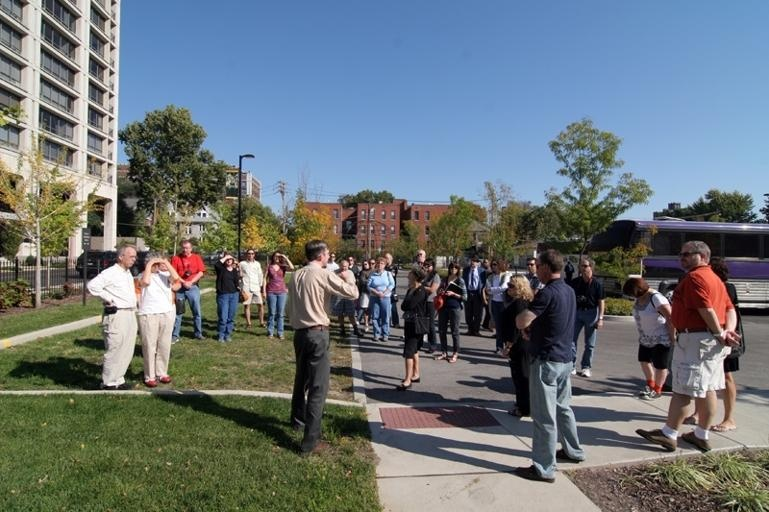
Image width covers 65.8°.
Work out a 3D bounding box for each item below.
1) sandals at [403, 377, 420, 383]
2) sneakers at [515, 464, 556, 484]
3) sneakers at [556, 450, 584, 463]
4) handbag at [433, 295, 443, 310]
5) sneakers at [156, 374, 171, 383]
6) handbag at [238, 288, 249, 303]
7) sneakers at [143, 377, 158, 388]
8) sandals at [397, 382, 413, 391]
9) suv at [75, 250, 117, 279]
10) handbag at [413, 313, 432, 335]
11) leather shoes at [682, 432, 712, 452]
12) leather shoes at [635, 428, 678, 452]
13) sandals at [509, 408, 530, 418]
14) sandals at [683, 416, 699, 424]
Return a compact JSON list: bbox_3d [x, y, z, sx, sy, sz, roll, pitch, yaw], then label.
[{"bbox_3d":[0.510,2.448,11.791,0.366,0.142,0.140,9,-12,-40],"label":"sandals"},{"bbox_3d":[2.224,3.210,8.810,0.543,0.246,0.220,12,-7,18],"label":"sneakers"},{"bbox_3d":[2.865,3.066,9.212,0.439,0.201,0.166,-4,1,15],"label":"sneakers"},{"bbox_3d":[1.154,0.965,12.636,0.201,0.280,0.266,-3,0,37],"label":"handbag"},{"bbox_3d":[-4.238,2.344,11.418,0.283,0.136,0.106,-5,-4,37],"label":"sneakers"},{"bbox_3d":[-3.845,1.028,16.180,0.359,0.372,0.200,4,24,42],"label":"handbag"},{"bbox_3d":[-4.418,2.363,11.256,0.154,0.123,0.175,1,-11,1],"label":"sneakers"},{"bbox_3d":[0.396,2.549,11.678,0.249,0.104,0.128,13,-20,-37],"label":"sandals"},{"bbox_3d":[-11.617,0.281,23.833,1.174,1.083,2.104,1,6,-1],"label":"suv"},{"bbox_3d":[0.704,1.304,11.595,0.079,0.378,0.488,-3,-8,41],"label":"handbag"},{"bbox_3d":[4.952,2.928,9.529,0.173,0.198,0.445,6,6,-27],"label":"leather shoes"},{"bbox_3d":[4.314,2.867,9.514,0.594,0.262,0.225,19,-7,43],"label":"leather shoes"},{"bbox_3d":[2.327,2.722,10.435,0.136,0.164,0.396,2,1,-45],"label":"sandals"},{"bbox_3d":[5.244,2.797,10.210,0.272,0.114,0.141,-2,-4,38],"label":"sandals"}]
